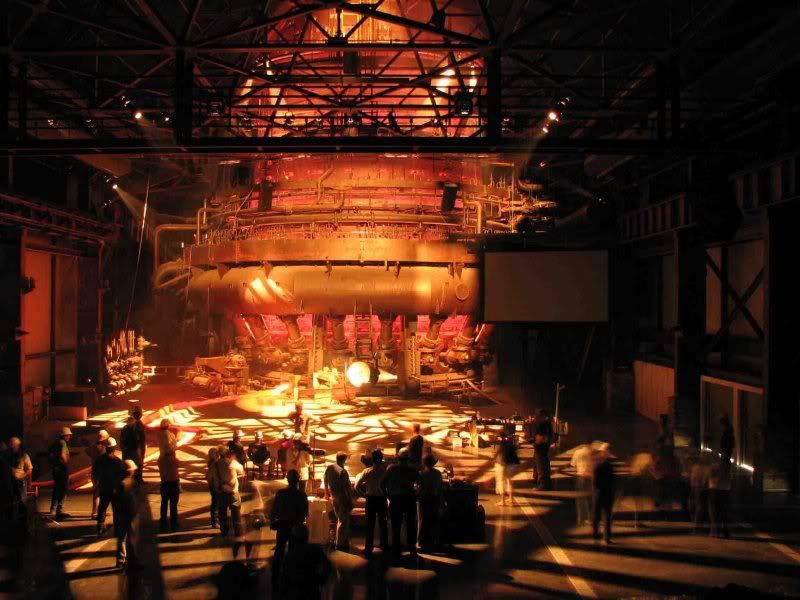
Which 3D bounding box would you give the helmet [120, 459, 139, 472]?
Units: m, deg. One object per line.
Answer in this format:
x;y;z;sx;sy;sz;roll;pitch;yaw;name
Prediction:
-8.171;4.969;29.508;0.554;0.210;0.497;12;-5;16;helmet
